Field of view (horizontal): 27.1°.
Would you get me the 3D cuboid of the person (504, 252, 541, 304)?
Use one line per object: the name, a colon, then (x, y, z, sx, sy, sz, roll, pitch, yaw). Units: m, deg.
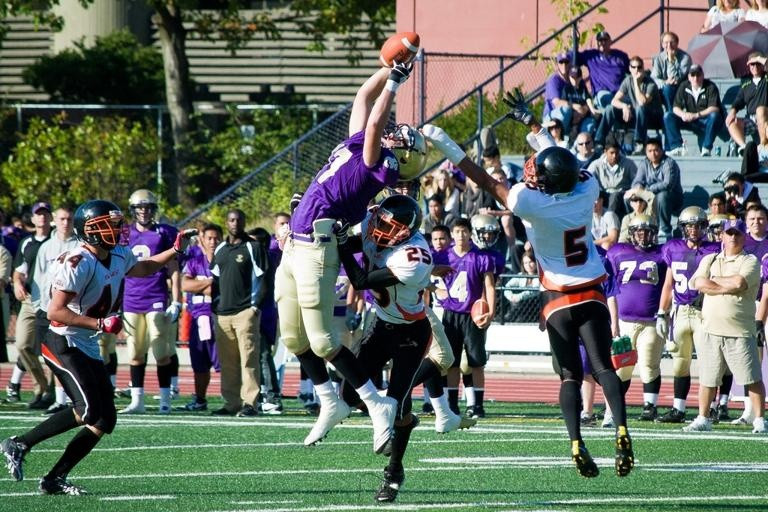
person: (2.417, 0.437, 26.624, 0.600, 0.931, 0.738, -9, 6, 9)

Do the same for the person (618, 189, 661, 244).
person: (4.137, -0.730, 25.973, 0.686, 0.993, 0.455, 7, 3, -6)

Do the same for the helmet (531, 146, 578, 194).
helmet: (2.115, -1.043, 19.616, 0.414, 0.489, 0.595, -13, 23, -5)

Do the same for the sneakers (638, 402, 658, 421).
sneakers: (3.859, 2.278, 23.363, 0.284, 0.248, 0.274, -1, -2, 10)

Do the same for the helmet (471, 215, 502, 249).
helmet: (1.558, -0.360, 24.246, 0.397, 0.447, 0.499, 4, 11, -16)

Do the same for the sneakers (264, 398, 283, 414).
sneakers: (-1.658, 2.248, 23.576, 0.331, 0.171, 0.141, 5, -1, 1)

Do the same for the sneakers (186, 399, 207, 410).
sneakers: (-2.782, 2.232, 23.875, 0.351, 0.178, 0.126, 4, 5, -6)

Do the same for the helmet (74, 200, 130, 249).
helmet: (-3.511, -0.377, 19.775, 0.609, 0.531, 0.485, 1, 4, 36)

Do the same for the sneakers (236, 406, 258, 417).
sneakers: (-1.984, 2.270, 23.199, 0.136, 0.105, 0.252, -1, -9, 24)

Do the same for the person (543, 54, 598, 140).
person: (3.165, -2.717, 28.205, 0.772, 1.078, 1.505, 7, -9, 11)

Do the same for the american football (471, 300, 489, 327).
american football: (1.300, 0.789, 21.899, 0.192, 0.351, 0.237, 11, -23, 14)

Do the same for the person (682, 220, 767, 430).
person: (4.813, 0.992, 22.503, 0.979, 2.906, 0.520, -1, -2, 10)

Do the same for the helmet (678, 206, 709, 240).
helmet: (4.557, -0.492, 23.516, 0.363, 0.473, 0.456, 0, -7, 7)

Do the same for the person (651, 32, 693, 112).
person: (5.164, -3.164, 28.637, 0.685, 1.611, 0.863, -3, 4, 10)

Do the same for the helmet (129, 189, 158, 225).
helmet: (-3.508, -0.711, 23.358, 0.371, 0.498, 0.490, -1, -3, -6)

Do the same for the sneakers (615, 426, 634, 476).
sneakers: (2.902, 2.370, 19.362, 0.204, 0.629, 0.290, -2, 2, 8)

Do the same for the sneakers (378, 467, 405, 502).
sneakers: (0.084, 2.767, 19.368, 0.175, 0.553, 0.237, -1, -37, 32)

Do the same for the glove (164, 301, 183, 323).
glove: (-3.118, 0.830, 23.641, 0.193, 0.287, 0.127, 25, -23, 4)

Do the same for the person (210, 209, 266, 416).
person: (-2.115, 0.831, 23.376, 0.828, 3.011, 0.387, -1, -2, -7)

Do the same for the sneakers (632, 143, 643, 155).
sneakers: (4.483, -1.887, 28.137, 0.150, 0.212, 0.179, 10, 12, 31)

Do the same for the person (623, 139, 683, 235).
person: (4.441, -1.163, 26.641, 0.892, 1.513, 0.954, -1, 3, 2)

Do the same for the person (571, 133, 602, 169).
person: (3.404, -1.772, 27.183, 0.786, 0.605, 1.079, -1, -4, 3)

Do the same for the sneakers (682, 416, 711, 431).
sneakers: (4.353, 2.359, 22.423, 0.449, 0.232, 0.177, -2, -4, 1)

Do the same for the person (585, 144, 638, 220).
person: (3.811, -1.044, 26.749, 0.868, 1.759, 1.007, -1, 12, 18)

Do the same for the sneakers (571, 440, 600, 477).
sneakers: (2.416, 2.466, 19.305, 0.212, 0.539, 0.264, -22, 24, 18)

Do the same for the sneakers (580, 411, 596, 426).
sneakers: (2.920, 2.349, 22.803, 0.276, 0.142, 0.103, 6, -8, -19)

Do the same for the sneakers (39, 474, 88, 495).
sneakers: (-3.899, 2.791, 19.487, 0.613, 0.293, 0.232, 4, 0, -6)

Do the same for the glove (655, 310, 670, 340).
glove: (4.051, 1.005, 23.200, 0.112, 0.348, 0.241, 7, -1, 4)

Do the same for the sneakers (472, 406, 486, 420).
sneakers: (1.370, 2.308, 23.387, 0.190, 0.302, 0.632, 1, -3, 6)

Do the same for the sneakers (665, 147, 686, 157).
sneakers: (5.123, -1.827, 28.147, 0.378, 0.181, 0.138, 3, 8, 8)

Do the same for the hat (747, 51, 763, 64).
hat: (6.456, -3.454, 27.680, 0.262, 0.173, 0.355, 3, -5, 12)

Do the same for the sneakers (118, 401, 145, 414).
sneakers: (-3.686, 2.229, 23.360, 0.406, 0.309, 0.149, 3, -5, -2)

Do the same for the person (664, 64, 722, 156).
person: (5.428, -2.539, 28.150, 0.971, 1.545, 0.727, -2, -2, 22)

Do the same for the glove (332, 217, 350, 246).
glove: (-0.529, -0.297, 19.629, 0.191, 0.286, 0.273, 0, 2, 0)

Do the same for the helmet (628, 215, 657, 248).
helmet: (3.775, -0.348, 23.414, 0.382, 0.460, 0.466, -3, -3, 3)

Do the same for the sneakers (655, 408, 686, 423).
sneakers: (4.156, 2.331, 23.227, 0.490, 0.237, 0.176, 2, -2, -5)
